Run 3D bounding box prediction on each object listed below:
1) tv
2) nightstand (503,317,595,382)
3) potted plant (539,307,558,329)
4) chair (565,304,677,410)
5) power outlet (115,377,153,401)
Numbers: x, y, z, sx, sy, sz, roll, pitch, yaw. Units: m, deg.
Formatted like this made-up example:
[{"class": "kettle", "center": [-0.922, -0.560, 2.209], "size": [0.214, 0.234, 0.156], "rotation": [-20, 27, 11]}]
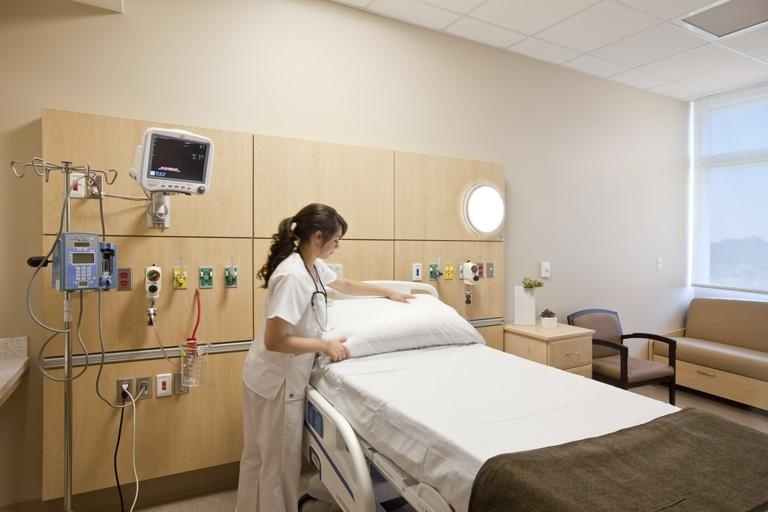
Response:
[{"class": "tv", "center": [-1.467, -0.623, 3.776], "size": [0.503, 0.743, 0.467], "rotation": [2, 12, -43]}, {"class": "nightstand", "center": [1.526, 0.797, 4.882], "size": [0.542, 0.837, 0.564], "rotation": [0, 0, -33]}, {"class": "potted plant", "center": [1.611, 0.608, 4.990], "size": [0.127, 0.184, 0.172], "rotation": [0, -1, -23]}, {"class": "chair", "center": [2.432, 0.946, 5.271], "size": [0.855, 1.241, 1.016], "rotation": [0, -2, -25]}, {"class": "power outlet", "center": [-1.832, 0.955, 3.726], "size": [0.180, 0.160, 0.058], "rotation": [1, 0, -33]}]
